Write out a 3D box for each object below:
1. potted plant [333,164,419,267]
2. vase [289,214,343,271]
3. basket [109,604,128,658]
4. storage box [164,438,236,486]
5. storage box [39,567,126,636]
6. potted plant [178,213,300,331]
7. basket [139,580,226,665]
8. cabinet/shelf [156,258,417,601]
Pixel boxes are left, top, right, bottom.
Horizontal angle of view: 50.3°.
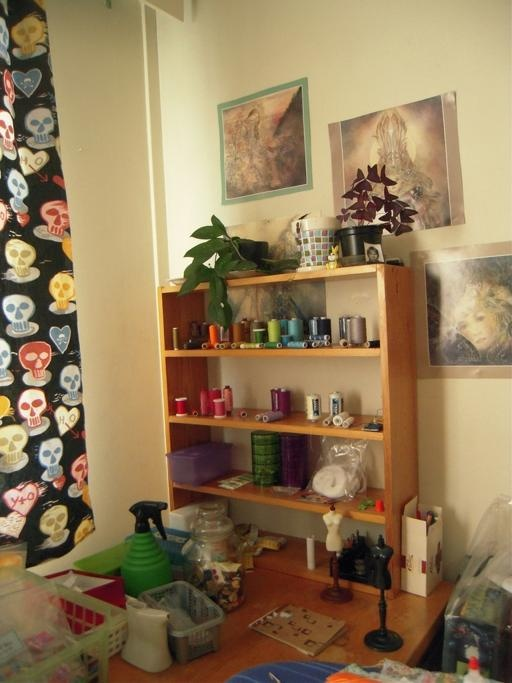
[{"bbox_3d":[0.363,-0.396,1.670,0.240,0.290,0.274,-5,-1,16],"label":"potted plant"},{"bbox_3d":[0.181,-0.305,1.737,0.154,0.159,0.165,-2,-4,37],"label":"vase"},{"bbox_3d":[-0.333,0.707,1.318,0.046,0.091,0.058,-4,-1,-16],"label":"basket"},{"bbox_3d":[-0.196,0.448,2.030,0.129,0.097,0.204,-3,-3,31],"label":"storage box"},{"bbox_3d":[-0.438,0.650,1.394,0.203,0.127,0.140,-9,-9,42],"label":"storage box"},{"bbox_3d":[-0.056,-0.239,1.814,0.381,0.311,0.211,-5,-1,4],"label":"potted plant"},{"bbox_3d":[-0.175,0.676,1.354,0.132,0.072,0.191,-3,3,-34],"label":"basket"},{"bbox_3d":[0.116,0.284,1.763,1.075,1.118,0.274,0,1,36],"label":"cabinet/shelf"}]
